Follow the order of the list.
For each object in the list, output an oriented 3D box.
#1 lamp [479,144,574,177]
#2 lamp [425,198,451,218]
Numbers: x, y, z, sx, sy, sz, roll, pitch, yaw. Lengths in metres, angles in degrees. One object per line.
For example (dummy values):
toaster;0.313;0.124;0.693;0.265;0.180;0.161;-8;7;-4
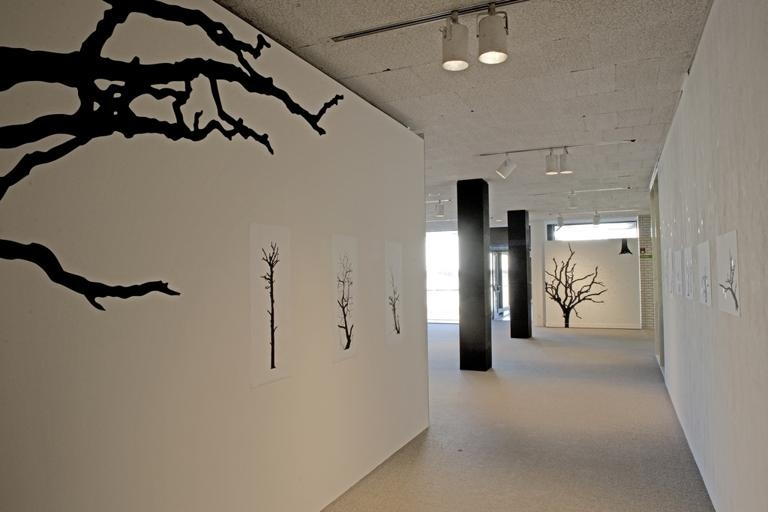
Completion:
lamp;2.031;-1.272;7.731;1.352;0.370;0.828;1;4;39
lamp;1.191;-1.146;12.521;0.525;0.325;0.258;0;-5;11
